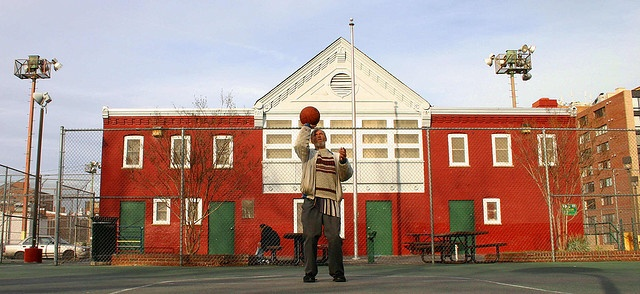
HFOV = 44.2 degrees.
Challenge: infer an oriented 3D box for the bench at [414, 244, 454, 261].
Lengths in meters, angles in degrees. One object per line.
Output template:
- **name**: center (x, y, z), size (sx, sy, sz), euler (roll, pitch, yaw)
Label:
- **bench**: center (9.119, 8.029, 62.053), size (2.581, 0.695, 2.320), euler (0, -12, 8)

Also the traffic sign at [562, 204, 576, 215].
- **traffic sign**: center (19.407, 4.850, 62.077), size (1.490, 0.861, 0.336), euler (4, -4, -19)

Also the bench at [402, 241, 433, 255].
- **bench**: center (7.920, 8.074, 63.513), size (2.780, 0.618, 2.334), euler (1, -7, 0)

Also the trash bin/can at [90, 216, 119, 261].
- **trash bin/can**: center (-16.711, 7.063, 61.018), size (1.963, 3.476, 1.616), euler (1, -1, -17)

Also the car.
- **car**: center (-23.951, 8.870, 68.971), size (7.635, 2.032, 2.872), euler (-1, -7, -3)
